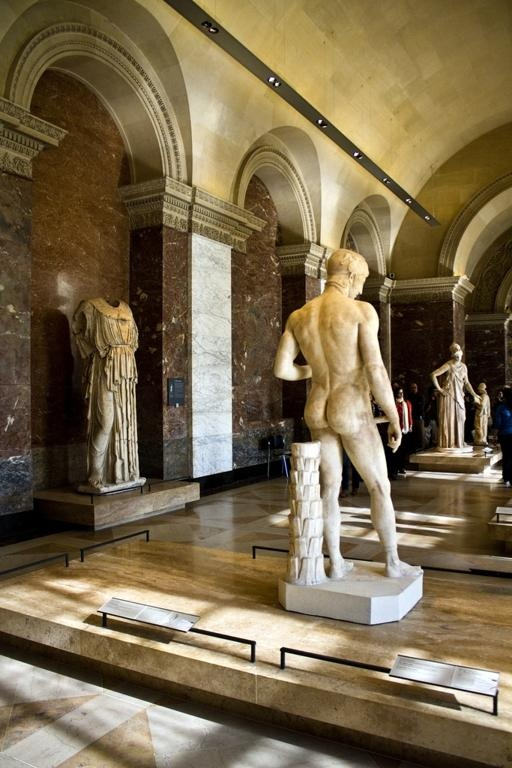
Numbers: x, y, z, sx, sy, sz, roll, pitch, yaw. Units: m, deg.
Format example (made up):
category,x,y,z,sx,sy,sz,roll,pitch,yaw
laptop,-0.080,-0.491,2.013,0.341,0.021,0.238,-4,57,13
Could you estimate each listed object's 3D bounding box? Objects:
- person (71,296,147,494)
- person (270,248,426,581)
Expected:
category,x,y,z,sx,sy,sz,roll,pitch,yaw
person,-1.750,0.103,7.173,0.408,2.280,0.729,-1,-2,44
person,0.533,0.143,3.627,0.790,2.007,0.405,-1,-1,26
